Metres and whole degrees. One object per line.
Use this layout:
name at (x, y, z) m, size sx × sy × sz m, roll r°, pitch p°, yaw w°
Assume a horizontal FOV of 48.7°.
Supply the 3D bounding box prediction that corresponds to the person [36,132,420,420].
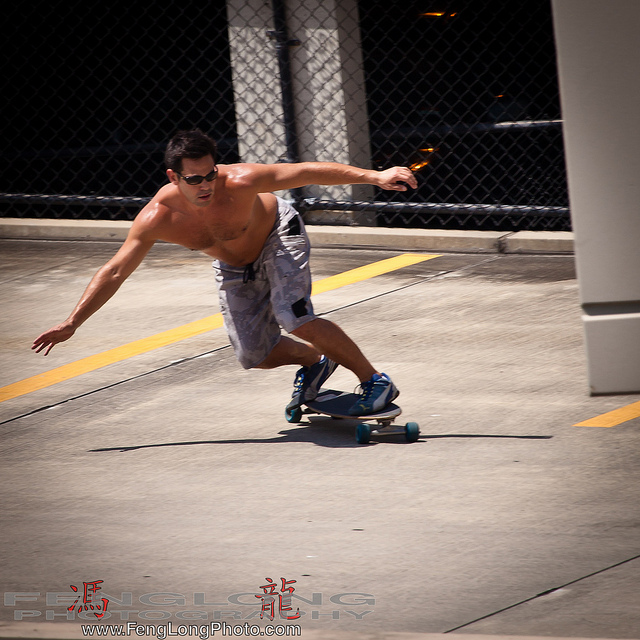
person at (-0.341, -0.191, 3.483) m, size 1.575 × 1.413 × 0.580 m, roll -3°, pitch 10°, yaw -4°
